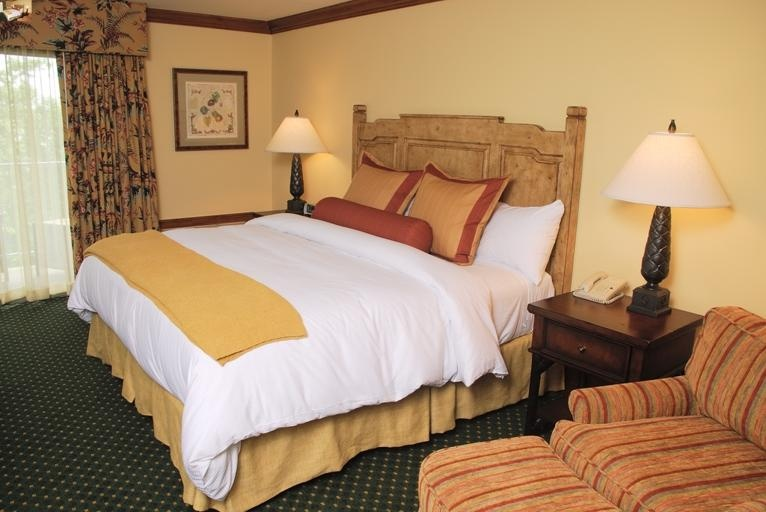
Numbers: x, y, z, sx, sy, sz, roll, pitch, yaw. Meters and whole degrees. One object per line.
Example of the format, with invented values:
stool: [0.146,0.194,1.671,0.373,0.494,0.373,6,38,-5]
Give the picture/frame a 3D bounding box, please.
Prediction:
picture/frame: [-2.034,-1.707,6.381,0.959,0.986,0.064,-5,12,-29]

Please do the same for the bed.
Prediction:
bed: [-0.458,-0.006,4.309,3.502,2.435,3.062,11,17,29]

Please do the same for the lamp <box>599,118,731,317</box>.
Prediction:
lamp: [1.765,-0.235,3.536,0.690,1.214,0.422,9,16,20]
